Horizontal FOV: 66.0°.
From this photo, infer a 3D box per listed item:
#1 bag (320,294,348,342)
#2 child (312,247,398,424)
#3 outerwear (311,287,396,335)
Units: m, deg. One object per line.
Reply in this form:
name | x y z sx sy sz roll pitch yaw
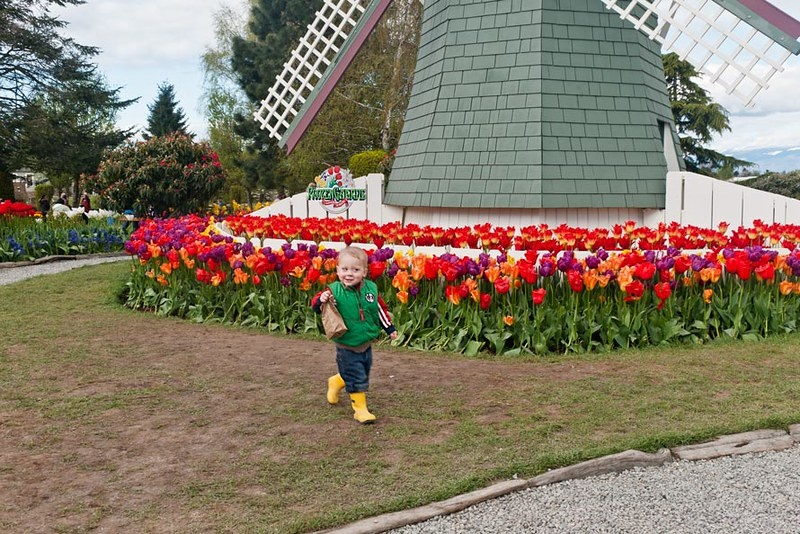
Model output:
bag | -0.581 0.444 5.281 0.251 0.355 0.146 0 2 11
child | -0.398 0.565 5.420 0.687 1.506 0.492 0 2 4
outerwear | -0.387 0.392 5.581 0.634 0.623 0.341 -2 -1 -9
